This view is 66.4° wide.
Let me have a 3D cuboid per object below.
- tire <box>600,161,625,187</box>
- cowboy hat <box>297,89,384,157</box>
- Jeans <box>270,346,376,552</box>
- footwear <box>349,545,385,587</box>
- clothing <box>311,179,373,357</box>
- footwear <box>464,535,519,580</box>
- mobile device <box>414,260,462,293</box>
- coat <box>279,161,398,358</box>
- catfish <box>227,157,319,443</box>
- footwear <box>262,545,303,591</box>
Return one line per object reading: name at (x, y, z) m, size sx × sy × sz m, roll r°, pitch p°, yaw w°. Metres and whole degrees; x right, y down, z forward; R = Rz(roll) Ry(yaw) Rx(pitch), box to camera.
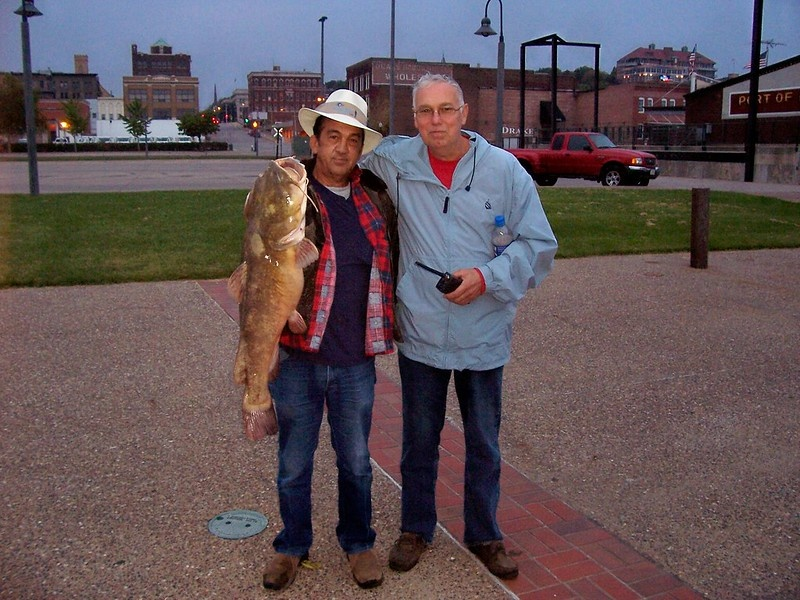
tire at (8.841, -5.165, 25.340) m, size 0.416 × 0.844 × 1.095 m, roll -7°, pitch 17°, yaw -30°
cowboy hat at (-0.286, -0.969, 3.150) m, size 0.393 × 0.222 × 0.410 m, roll 8°, pitch 1°, yaw -26°
Jeans at (-0.405, 0.735, 3.157) m, size 0.519 × 1.366 × 0.335 m, roll -1°, pitch 11°, yaw -13°
footwear at (-0.176, 1.373, 3.159) m, size 0.099 × 0.109 × 0.232 m, roll -4°, pitch -4°, yaw -20°
clothing at (-0.250, -0.101, 3.009) m, size 0.208 × 0.782 × 0.405 m, roll 3°, pitch 4°, yaw 17°
footwear at (0.498, 1.355, 3.262) m, size 0.108 × 0.134 × 0.285 m, roll -4°, pitch 5°, yaw -31°
mobile device at (0.204, -0.099, 3.064) m, size 0.173 × 0.121 × 0.077 m, roll 28°, pitch -11°, yaw 25°
coat at (-0.271, -0.147, 3.106) m, size 0.609 × 0.949 × 0.307 m, roll 3°, pitch 0°, yaw -18°
catfish at (-0.605, -0.107, 2.912) m, size 0.466 × 1.436 × 0.362 m, roll 11°, pitch 16°, yaw 0°
footwear at (-0.590, 1.371, 3.140) m, size 0.087 × 0.118 × 0.259 m, roll 6°, pitch 1°, yaw 17°
